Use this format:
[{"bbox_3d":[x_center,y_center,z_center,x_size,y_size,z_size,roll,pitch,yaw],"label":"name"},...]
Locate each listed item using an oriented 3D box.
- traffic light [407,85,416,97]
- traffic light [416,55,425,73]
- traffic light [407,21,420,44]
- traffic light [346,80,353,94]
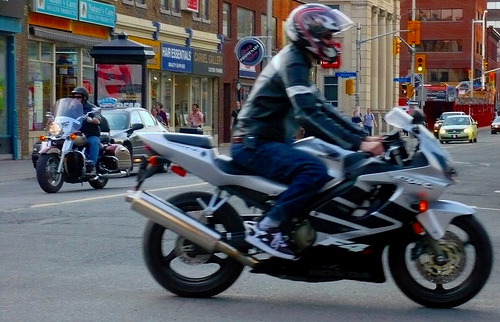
[{"bbox_3d":[11.355,-5.017,40.435,0.419,0.772,1.116,1,7,7],"label":"traffic light"},{"bbox_3d":[11.813,-6.770,39.799,0.520,1.198,1.362,2,7,14],"label":"traffic light"},{"bbox_3d":[10.857,-8.625,38.006,0.700,1.435,1.119,1,7,9],"label":"traffic light"},{"bbox_3d":[7.174,-5.415,41.483,0.392,0.965,0.767,1,7,8],"label":"traffic light"}]
